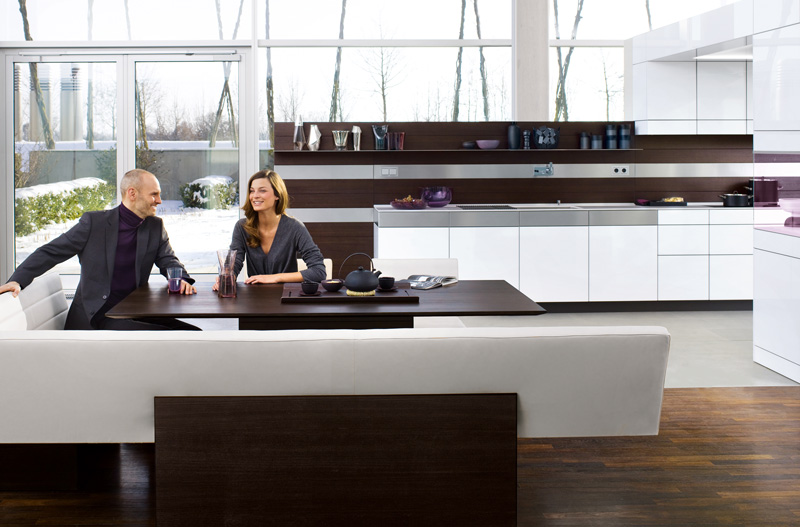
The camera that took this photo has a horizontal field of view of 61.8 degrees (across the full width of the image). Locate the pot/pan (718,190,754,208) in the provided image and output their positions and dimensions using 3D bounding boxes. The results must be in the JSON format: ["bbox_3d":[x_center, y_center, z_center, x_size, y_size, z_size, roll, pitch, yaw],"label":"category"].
[{"bbox_3d":[3.583,-0.688,7.054,0.405,0.152,0.229,1,-1,1],"label":"pot/pan"}]

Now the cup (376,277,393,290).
[{"bbox_3d":[-0.083,0.115,3.811,0.075,0.053,0.074,0,4,0],"label":"cup"}]

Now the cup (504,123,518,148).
[{"bbox_3d":[1.246,-1.413,7.411,0.151,0.263,0.150,0,11,0],"label":"cup"}]

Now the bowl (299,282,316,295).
[{"bbox_3d":[-0.513,0.136,3.766,0.078,0.048,0.073,1,5,0],"label":"bowl"}]

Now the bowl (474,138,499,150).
[{"bbox_3d":[0.958,-1.325,7.429,0.270,0.120,0.217,2,11,9],"label":"bowl"}]

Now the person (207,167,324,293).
[{"bbox_3d":[-0.849,-0.194,4.295,0.805,1.007,0.692,-1,-1,-1],"label":"person"}]

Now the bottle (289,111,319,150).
[{"bbox_3d":[-1.045,-1.411,7.401,0.312,0.315,0.226,-2,11,-10],"label":"bottle"}]

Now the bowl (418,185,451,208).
[{"bbox_3d":[0.385,-0.701,7.090,0.253,0.165,0.234,-1,4,0],"label":"bowl"}]
